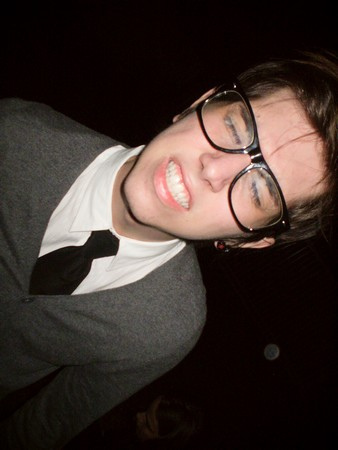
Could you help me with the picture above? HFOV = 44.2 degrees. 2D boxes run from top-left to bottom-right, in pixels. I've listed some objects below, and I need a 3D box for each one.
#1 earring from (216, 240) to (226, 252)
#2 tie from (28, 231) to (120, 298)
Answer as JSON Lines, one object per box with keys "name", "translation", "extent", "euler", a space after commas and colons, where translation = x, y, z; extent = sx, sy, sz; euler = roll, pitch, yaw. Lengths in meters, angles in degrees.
{"name": "earring", "translation": [0.236, 0.095, 1.865], "extent": [0.047, 0.023, 0.041], "euler": [-14, 95, 30]}
{"name": "tie", "translation": [-0.419, 0.149, 1.799], "extent": [0.389, 0.088, 0.224], "euler": [-27, 114, -5]}
